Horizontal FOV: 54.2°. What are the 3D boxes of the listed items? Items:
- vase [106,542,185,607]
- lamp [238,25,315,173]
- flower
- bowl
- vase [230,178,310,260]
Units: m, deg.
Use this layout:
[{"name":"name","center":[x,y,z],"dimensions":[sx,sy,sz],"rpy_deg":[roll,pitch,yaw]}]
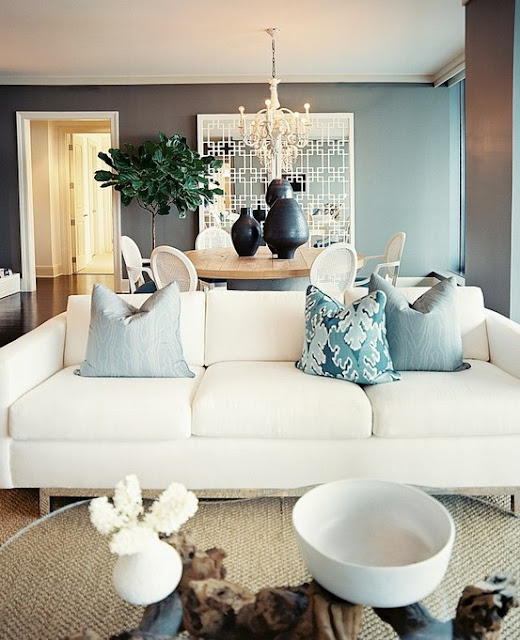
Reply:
[{"name":"vase","center":[-0.195,0.424,0.842],"dimensions":[0.116,0.073,0.124],"rpy_deg":[-1,24,2]},{"name":"lamp","center":[0.142,-2.214,5.427],"dimensions":[0.571,1.832,0.617],"rpy_deg":[-1,-2,-18]},{"name":"flower","center":[-0.213,0.331,0.882],"dimensions":[0.162,0.111,0.152],"rpy_deg":[-14,6,-36]},{"name":"bowl","center":[0.207,0.427,1.001],"dimensions":[0.240,0.115,0.246],"rpy_deg":[-12,12,3]},{"name":"vase","center":[0.096,-0.778,3.933],"dimensions":[0.432,0.617,0.633],"rpy_deg":[-9,14,-32]}]
